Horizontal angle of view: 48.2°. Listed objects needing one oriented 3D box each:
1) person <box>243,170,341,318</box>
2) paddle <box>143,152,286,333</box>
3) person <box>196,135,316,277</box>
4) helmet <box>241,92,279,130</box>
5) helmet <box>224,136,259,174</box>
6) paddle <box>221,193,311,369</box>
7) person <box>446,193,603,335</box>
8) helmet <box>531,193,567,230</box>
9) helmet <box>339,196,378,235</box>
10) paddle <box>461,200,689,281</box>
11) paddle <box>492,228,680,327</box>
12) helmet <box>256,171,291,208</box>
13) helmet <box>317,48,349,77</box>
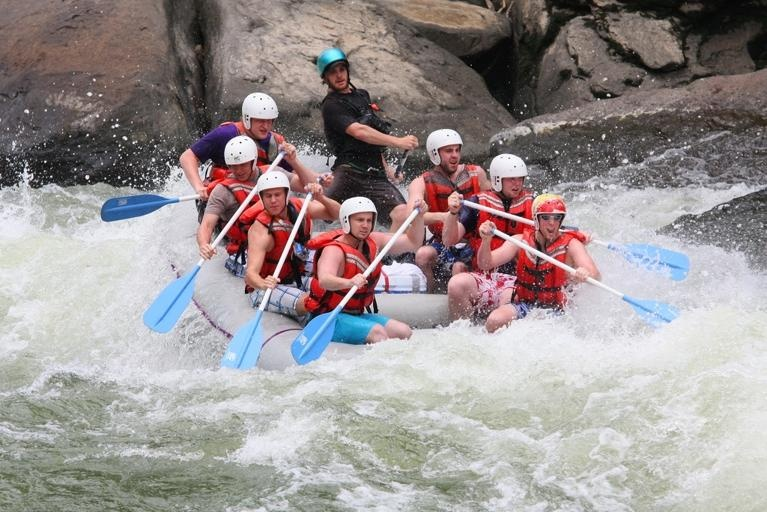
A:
[{"bbox_3d":[-0.893,-0.076,8.077,0.871,1.171,1.028,12,27,29],"label":"person"},{"bbox_3d":[-1.625,-0.091,8.418,0.342,0.113,2.437,39,69,0],"label":"paddle"},{"bbox_3d":[-1.283,-0.467,8.398,1.140,1.435,0.949,-8,19,-16],"label":"person"},{"bbox_3d":[-1.299,-1.545,8.965,0.303,0.330,0.403,-9,26,-29],"label":"helmet"},{"bbox_3d":[-1.401,-1.005,8.470,0.255,0.279,0.328,1,31,15],"label":"helmet"},{"bbox_3d":[-0.999,0.251,7.421,0.360,1.962,0.077,7,29,-37],"label":"paddle"},{"bbox_3d":[1.279,0.106,8.069,0.952,0.794,1.327,13,78,17],"label":"person"},{"bbox_3d":[1.529,-0.428,7.970,0.282,0.368,0.298,0,55,-3],"label":"helmet"},{"bbox_3d":[-0.252,-0.391,7.853,0.269,0.352,0.268,5,84,-23],"label":"helmet"},{"bbox_3d":[1.844,-0.131,8.400,2.217,0.097,0.361,18,77,8],"label":"paddle"},{"bbox_3d":[1.860,0.232,8.059,1.711,0.114,0.237,29,92,11],"label":"paddle"},{"bbox_3d":[-1.059,-0.639,8.155,0.246,0.311,0.286,-8,79,-4],"label":"helmet"},{"bbox_3d":[-0.548,-2.034,9.014,0.279,0.347,0.191,-19,58,-15],"label":"helmet"}]
